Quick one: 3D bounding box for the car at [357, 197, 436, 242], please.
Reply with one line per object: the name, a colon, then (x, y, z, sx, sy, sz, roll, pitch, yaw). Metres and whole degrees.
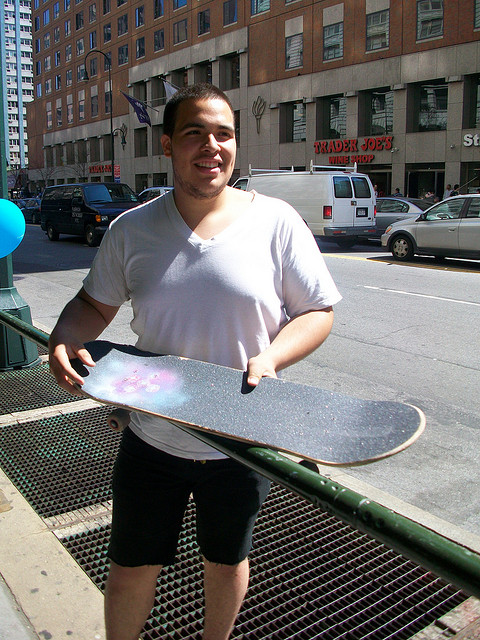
car: (5.868, -3.902, 18.227, 1.575, 1.628, 3.721, 3, 4, 41)

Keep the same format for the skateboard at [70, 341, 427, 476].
skateboard: (-0.047, 0.134, 1.009, 0.858, 0.103, 0.302, 10, 18, 34)

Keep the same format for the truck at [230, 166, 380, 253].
truck: (2.070, -4.605, 19.559, 3.090, 3.612, 6.380, -9, 15, -40)

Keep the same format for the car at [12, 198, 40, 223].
car: (-16.039, -8.333, 36.532, 1.481, 1.660, 4.963, -7, 16, -24)
